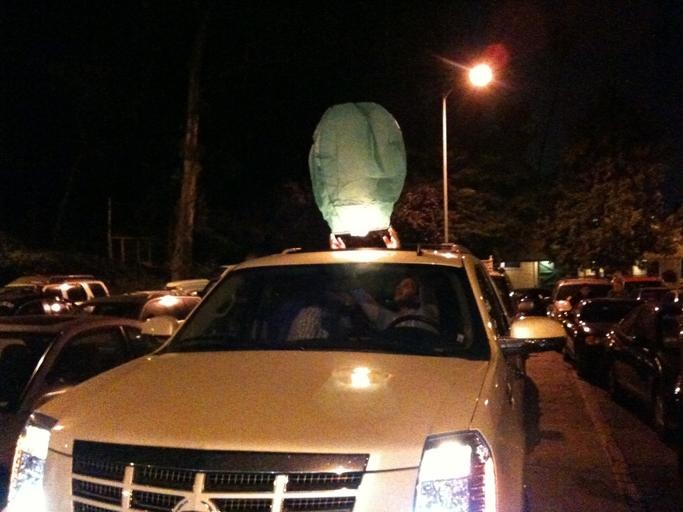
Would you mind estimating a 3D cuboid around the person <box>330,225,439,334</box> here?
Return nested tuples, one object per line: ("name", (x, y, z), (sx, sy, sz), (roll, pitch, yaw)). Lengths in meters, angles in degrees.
("person", (0.328, 0.205, 4.501), (0.582, 0.607, 1.853), (-9, 10, 15))
